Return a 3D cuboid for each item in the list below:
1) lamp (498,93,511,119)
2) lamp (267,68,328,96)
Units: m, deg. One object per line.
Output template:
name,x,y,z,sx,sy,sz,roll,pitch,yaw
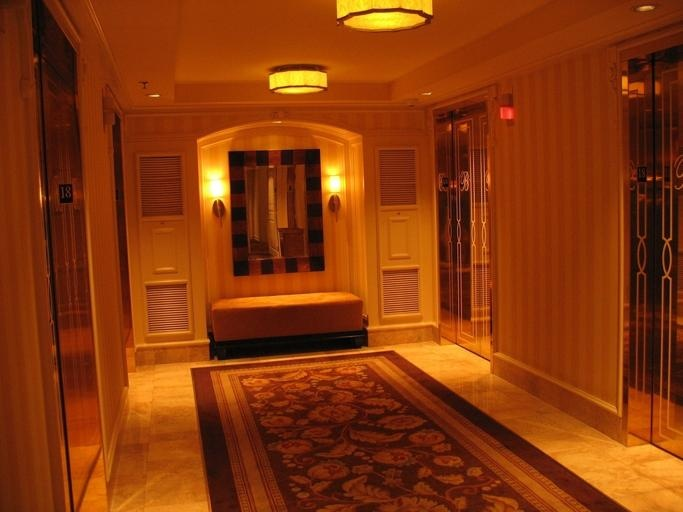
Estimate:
lamp,1.742,-1.564,5.866,0.130,0.281,0.152,-2,7,3
lamp,-0.509,-2.019,6.353,0.628,0.256,0.386,-3,7,-9
